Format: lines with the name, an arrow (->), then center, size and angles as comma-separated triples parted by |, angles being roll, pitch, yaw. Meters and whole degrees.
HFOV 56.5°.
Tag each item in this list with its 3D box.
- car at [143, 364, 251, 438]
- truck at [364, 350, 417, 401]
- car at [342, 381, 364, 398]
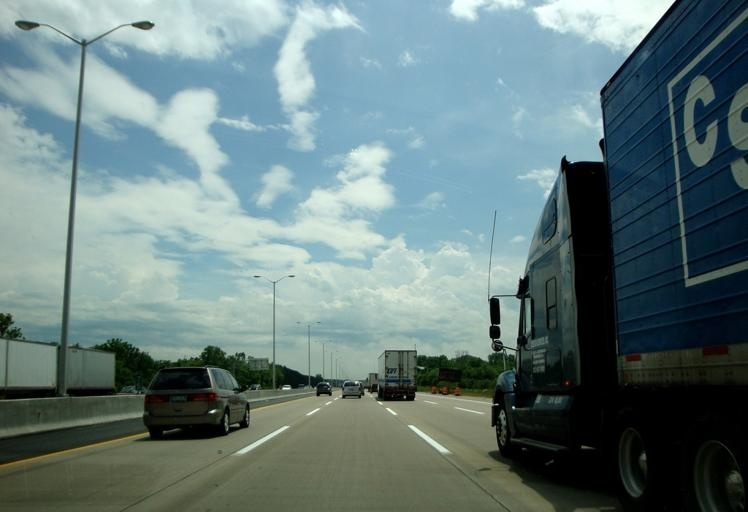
car -> -4.584, 3.897, 18.874 | 1.472, 1.272, 2.816 | -2, -12, 4
truck -> 1.349, 8.583, 47.231 | 2.614, 3.465, 7.048 | 2, -28, -5
car -> -1.685, 10.142, 53.801 | 1.415, 1.309, 1.652 | 3, -18, -8
